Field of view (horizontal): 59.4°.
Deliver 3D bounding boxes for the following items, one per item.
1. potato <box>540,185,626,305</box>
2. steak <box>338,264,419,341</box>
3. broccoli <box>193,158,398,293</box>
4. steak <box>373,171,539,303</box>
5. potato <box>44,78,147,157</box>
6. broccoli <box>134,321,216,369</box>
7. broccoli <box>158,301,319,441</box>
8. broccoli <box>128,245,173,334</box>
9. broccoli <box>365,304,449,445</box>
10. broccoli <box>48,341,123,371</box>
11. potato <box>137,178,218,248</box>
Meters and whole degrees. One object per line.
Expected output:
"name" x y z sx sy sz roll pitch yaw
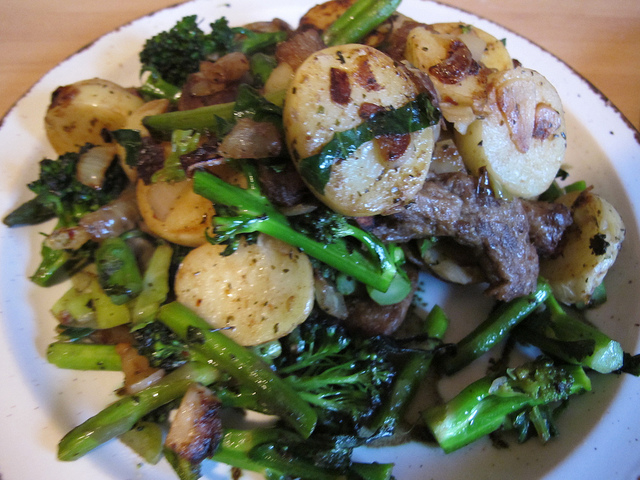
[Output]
"potato" 1.496 0.017 3.055 0.338 0.393 0.610 -11 112 -24
"steak" 0.316 0.340 3.042 0.423 0.296 0.271 10 30 18
"broccoli" -0.067 -0.049 2.661 1.066 0.256 0.433 21 73 -12
"steak" 0.820 -0.041 2.968 0.992 0.237 0.506 20 92 -16
"potato" -1.304 -0.718 3.112 0.497 0.429 0.254 -36 44 7
"broccoli" -0.775 0.530 2.764 0.396 0.230 0.080 27 88 -32
"broccoli" -0.407 0.627 2.688 1.101 0.207 0.195 28 64 -6
"broccoli" -0.806 0.239 2.770 0.155 0.127 0.456 29 74 -9
"broccoli" 0.440 0.708 2.885 0.453 0.389 0.629 -5 121 -1
"broccoli" -1.157 0.573 2.756 0.527 0.142 0.106 5 76 2
"potato" -0.704 -0.130 2.840 0.452 0.105 0.326 -14 88 4
